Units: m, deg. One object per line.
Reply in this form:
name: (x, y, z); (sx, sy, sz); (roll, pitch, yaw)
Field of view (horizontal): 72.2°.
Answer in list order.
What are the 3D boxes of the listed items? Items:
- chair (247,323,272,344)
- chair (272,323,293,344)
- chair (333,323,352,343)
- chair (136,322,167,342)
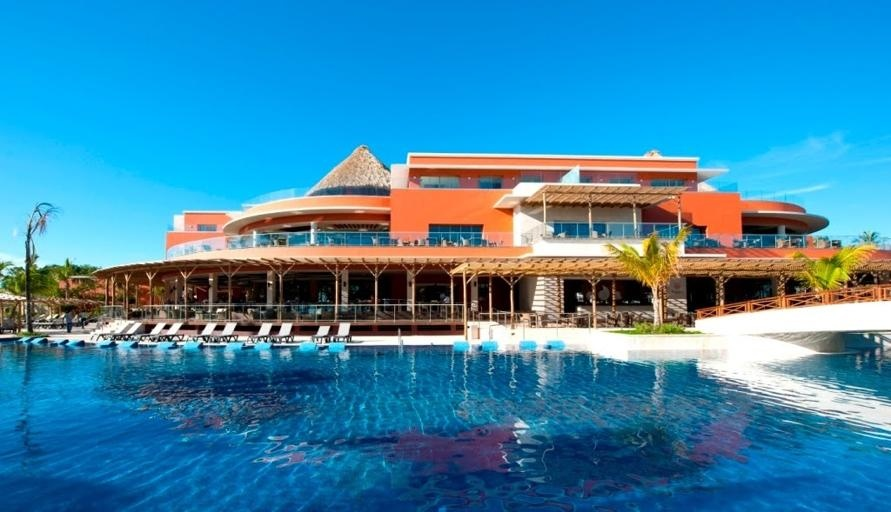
chair: (-13.212, 5.560, 43.123); (1.603, 1.472, 3.161); (1, -7, -15)
chair: (-11.592, 5.562, 43.236); (1.197, 1.330, 1.350); (1, -7, -17)
chair: (-7.528, 5.517, 43.665); (1.249, 1.396, 2.973); (0, -6, -10)
chair: (-21.290, 5.724, 44.160); (1.734, 1.572, 3.002); (2, -7, -24)
